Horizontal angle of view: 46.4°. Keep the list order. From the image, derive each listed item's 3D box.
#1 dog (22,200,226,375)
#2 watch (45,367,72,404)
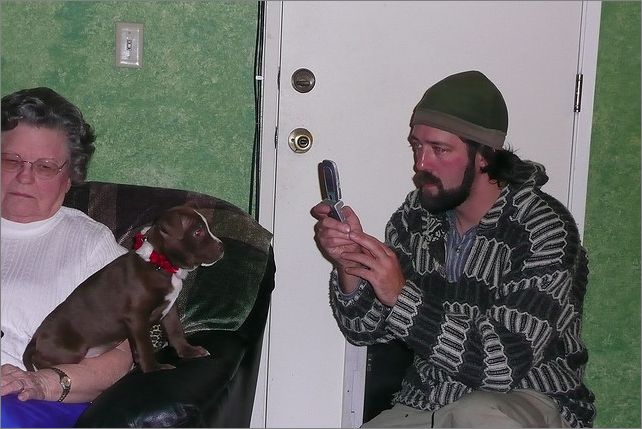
[{"bbox_3d":[-0.653,0.259,2.459,0.618,0.548,0.343,-3,4,-3],"label":"dog"},{"bbox_3d":[-0.800,0.532,2.325,0.028,0.089,0.083,-8,-19,-44],"label":"watch"}]
